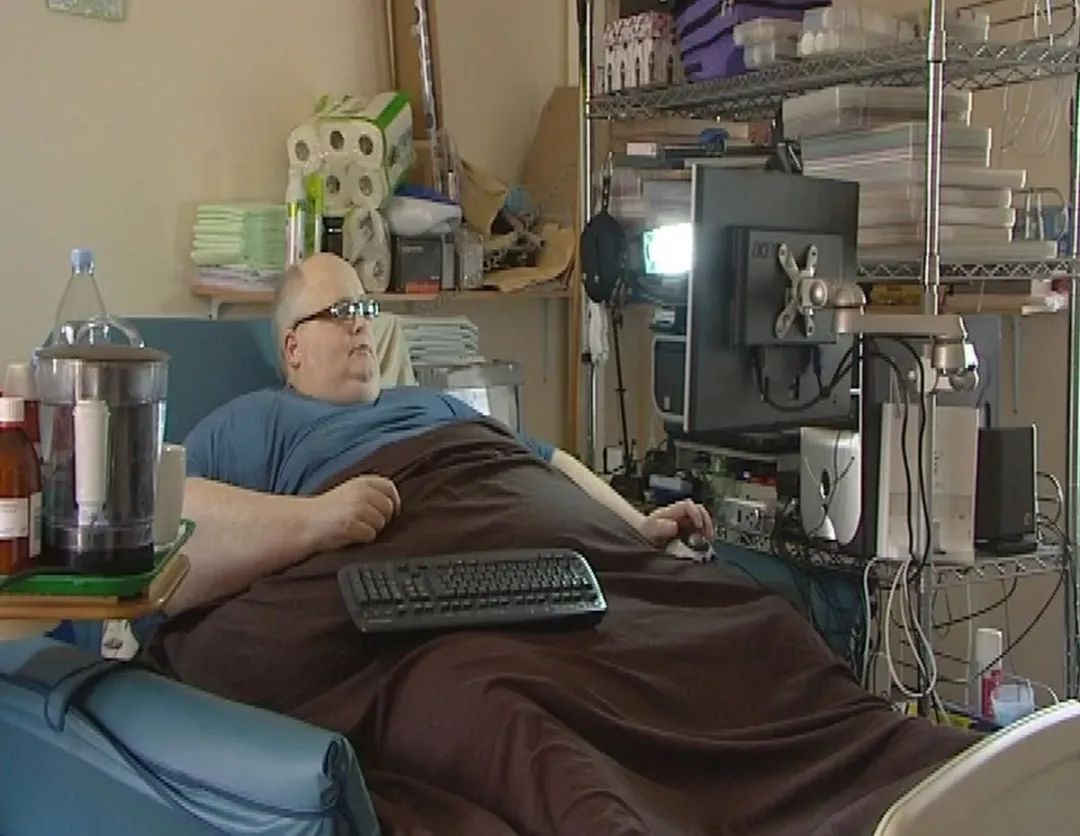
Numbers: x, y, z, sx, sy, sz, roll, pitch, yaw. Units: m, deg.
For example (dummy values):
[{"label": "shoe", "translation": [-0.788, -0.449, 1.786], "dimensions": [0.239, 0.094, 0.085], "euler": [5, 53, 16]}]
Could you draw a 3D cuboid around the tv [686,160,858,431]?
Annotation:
[{"label": "tv", "translation": [0.508, -0.266, 2.340], "dimensions": [0.556, 0.608, 0.075], "euler": [-5, 11, -32]}]

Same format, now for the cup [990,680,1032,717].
[{"label": "cup", "translation": [1.175, 0.677, 2.625], "dimensions": [0.100, 0.083, 0.108], "euler": [-1, 1, 0]}]

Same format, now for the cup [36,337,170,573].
[{"label": "cup", "translation": [-0.644, 0.049, 1.532], "dimensions": [0.179, 0.312, 0.230], "euler": [1, 2, -17]}]

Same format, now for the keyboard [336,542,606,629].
[{"label": "keyboard", "translation": [-0.123, 0.289, 1.806], "dimensions": [0.337, 0.049, 0.186], "euler": [-3, 33, -12]}]

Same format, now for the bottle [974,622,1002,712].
[{"label": "bottle", "translation": [1.116, 0.638, 2.631], "dimensions": [0.033, 0.145, 0.034], "euler": [2, -11, 0]}]

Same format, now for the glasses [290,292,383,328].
[{"label": "glasses", "translation": [-0.490, -0.260, 2.563], "dimensions": [0.109, 0.031, 0.108], "euler": [-18, -2, 28]}]

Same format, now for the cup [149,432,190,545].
[{"label": "cup", "translation": [-0.594, 0.112, 1.612], "dimensions": [0.078, 0.136, 0.080], "euler": [3, 0, 0]}]
